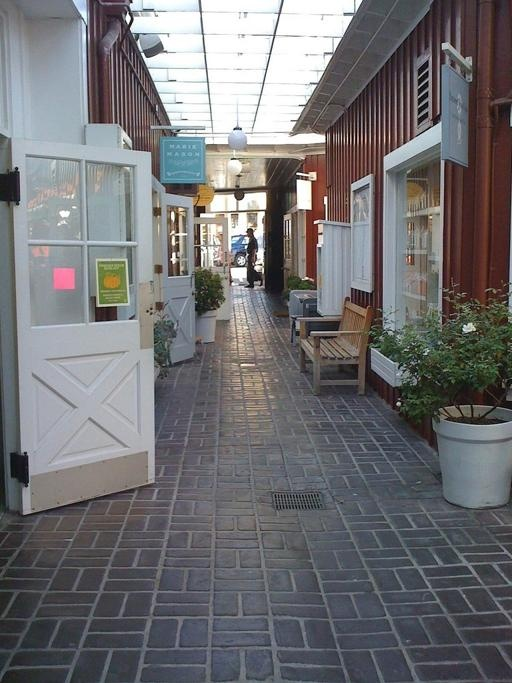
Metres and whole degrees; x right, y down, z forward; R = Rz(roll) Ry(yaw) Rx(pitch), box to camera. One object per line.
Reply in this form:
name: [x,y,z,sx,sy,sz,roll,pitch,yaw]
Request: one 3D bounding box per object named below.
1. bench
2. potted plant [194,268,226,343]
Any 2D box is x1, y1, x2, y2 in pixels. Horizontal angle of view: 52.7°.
bench: [1.021,0.016,6.831,0.721,1.069,1.775,0,7,-3]
potted plant: [-0.919,-0.692,10.211,0.545,1.475,0.666,-1,2,-6]
